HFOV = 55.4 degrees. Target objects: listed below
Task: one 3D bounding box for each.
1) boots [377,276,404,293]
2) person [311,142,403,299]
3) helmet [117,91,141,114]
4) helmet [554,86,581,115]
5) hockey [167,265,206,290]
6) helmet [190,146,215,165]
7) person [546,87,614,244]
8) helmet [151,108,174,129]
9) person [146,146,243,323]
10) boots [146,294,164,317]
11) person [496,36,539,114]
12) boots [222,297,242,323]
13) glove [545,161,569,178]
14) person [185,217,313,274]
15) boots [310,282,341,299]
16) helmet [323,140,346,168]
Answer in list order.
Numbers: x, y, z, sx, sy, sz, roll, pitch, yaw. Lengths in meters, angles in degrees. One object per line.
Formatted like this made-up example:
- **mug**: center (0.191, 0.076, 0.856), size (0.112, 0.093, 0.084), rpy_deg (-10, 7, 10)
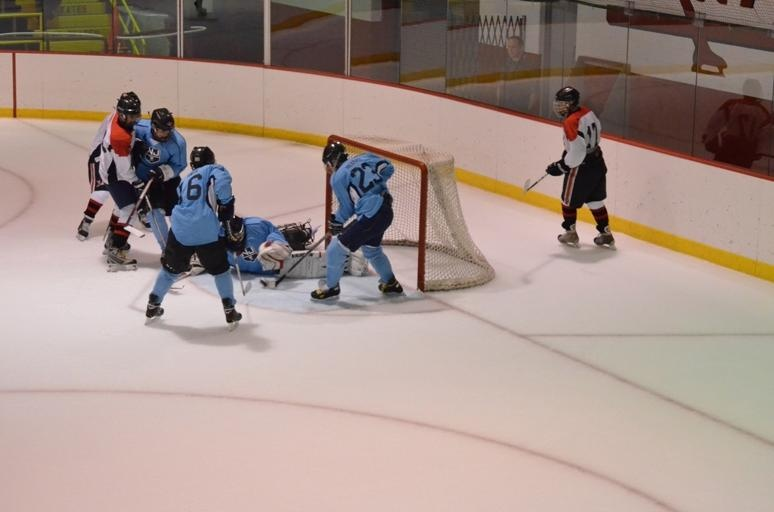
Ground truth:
- **boots**: center (0.032, 0.295, 6.745), size (0.118, 0.146, 0.219), rpy_deg (-22, 42, -29)
- **person**: center (-0.254, -0.306, 6.564), size (0.904, 1.359, 0.635), rpy_deg (-5, 7, -25)
- **helmet**: center (-2.467, -1.448, 6.999), size (0.210, 0.176, 0.336), rpy_deg (-7, 19, -20)
- **helmet**: center (1.854, -1.624, 7.707), size (0.307, 0.271, 0.247), rpy_deg (5, 26, 15)
- **hockey**: center (-1.879, 0.206, 6.920), size (0.258, 0.243, 0.084), rpy_deg (3, -25, 24)
- **helmet**: center (-1.521, -0.840, 6.181), size (0.173, 0.192, 0.197), rpy_deg (4, 22, 7)
- **person**: center (2.061, -0.902, 7.743), size (0.731, 1.657, 0.408), rpy_deg (3, 19, 12)
- **helmet**: center (-2.122, -1.296, 6.951), size (0.202, 0.171, 0.312), rpy_deg (-7, 19, -18)
- **person**: center (-1.569, -0.064, 5.918), size (0.713, 1.279, 0.346), rpy_deg (-5, 19, -12)
- **boots**: center (-1.925, 0.415, 6.102), size (0.100, 0.163, 0.236), rpy_deg (6, 17, 4)
- **person**: center (1.661, -2.238, 9.111), size (0.547, 0.908, 0.164), rpy_deg (17, 26, 42)
- **boots**: center (-1.268, 0.443, 6.020), size (0.115, 0.164, 0.236), rpy_deg (-2, 26, 6)
- **glove**: center (1.819, -0.925, 7.749), size (0.232, 0.199, 0.238), rpy_deg (7, 19, 21)
- **person**: center (-1.241, -0.132, 7.241), size (1.029, 0.517, 1.349), rpy_deg (-4, 5, 19)
- **boots**: center (-0.549, 0.315, 6.688), size (0.242, 0.129, 0.114), rpy_deg (-2, 18, -6)
- **helmet**: center (-0.460, -0.904, 6.586), size (0.180, 0.177, 0.236), rpy_deg (-15, -2, -10)
